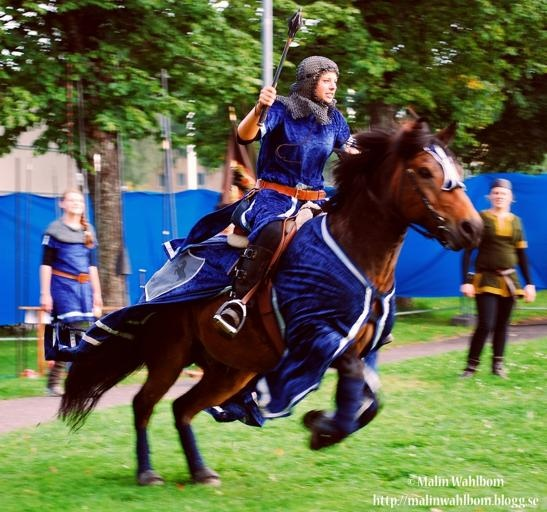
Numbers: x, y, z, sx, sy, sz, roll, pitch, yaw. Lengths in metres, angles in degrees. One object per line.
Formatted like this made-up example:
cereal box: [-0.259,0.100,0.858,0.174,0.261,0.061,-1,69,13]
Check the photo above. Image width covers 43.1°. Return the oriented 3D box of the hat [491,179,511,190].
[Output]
hat: [2.580,-0.831,7.820,0.205,0.084,0.169,2,1,15]

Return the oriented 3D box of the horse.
horse: [-0.072,0.383,4.325,3.153,1.415,0.850,-20,-29,28]

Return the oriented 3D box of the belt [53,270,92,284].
belt: [-2.121,0.209,7.316,0.259,0.048,0.189,10,0,-6]
